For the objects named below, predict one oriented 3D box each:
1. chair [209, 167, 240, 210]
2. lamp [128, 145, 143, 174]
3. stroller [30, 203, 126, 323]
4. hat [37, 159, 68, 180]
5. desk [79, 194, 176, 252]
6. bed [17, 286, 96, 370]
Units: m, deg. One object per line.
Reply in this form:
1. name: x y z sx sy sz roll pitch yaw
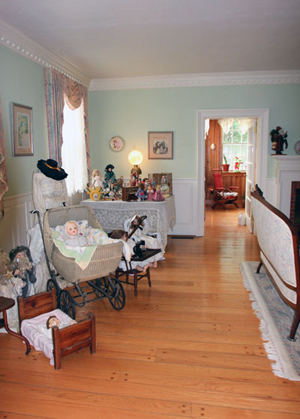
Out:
1. chair: 2.183 -0.548 9.189 0.675 1.071 0.643 -2 6 -11
2. lamp: -0.261 -0.929 5.701 0.275 0.581 0.834 -1 6 -3
3. stroller: -0.543 0.455 3.097 0.719 1.006 1.172 -5 7 -41
4. hat: -0.966 -0.390 3.017 0.241 0.072 0.237 34 33 -15
5. desk: -0.252 0.102 5.059 1.325 0.594 1.170 -2 8 39
6. bed: -0.621 0.822 2.127 0.474 0.229 0.476 7 9 44
